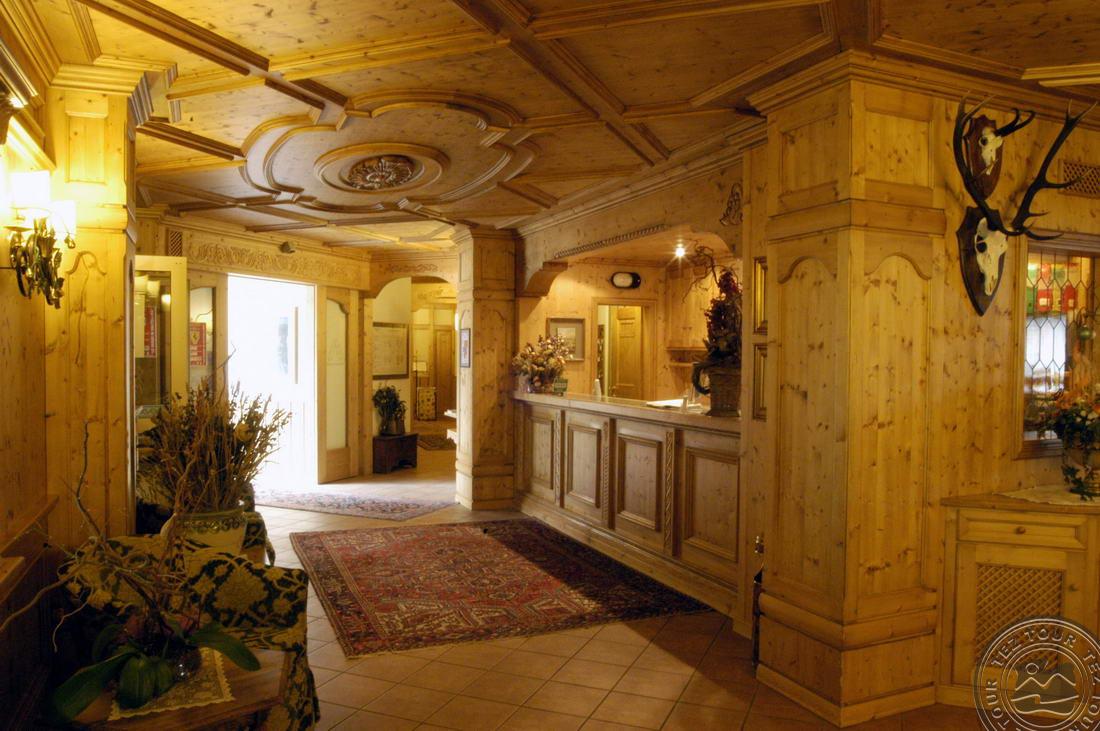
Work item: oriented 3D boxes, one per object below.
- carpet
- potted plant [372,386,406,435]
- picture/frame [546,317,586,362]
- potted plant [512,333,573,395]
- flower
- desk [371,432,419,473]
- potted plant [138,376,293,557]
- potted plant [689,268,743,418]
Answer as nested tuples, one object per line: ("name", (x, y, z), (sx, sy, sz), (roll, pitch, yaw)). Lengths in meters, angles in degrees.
("carpet", (-0.703, 1.831, 6.633), (2.688, 0.082, 3.026), (-3, 6, -25))
("potted plant", (-2.434, 0.676, 11.233), (0.441, 0.712, 0.486), (-1, 7, -6))
("picture/frame", (0.171, -0.348, 9.152), (0.635, 0.509, 0.065), (6, -9, -38))
("potted plant", (-0.057, 0.004, 8.616), (0.652, 0.575, 0.617), (-16, 5, 20))
("flower", (-1.824, 1.270, 3.286), (0.626, 0.189, 0.583), (1, 7, 11))
("desk", (-2.330, 1.284, 10.982), (0.227, 0.343, 0.671), (2, 0, 25))
("potted plant", (-2.147, 0.720, 4.719), (0.837, 1.210, 1.572), (-4, 7, -29))
("potted plant", (1.334, -0.196, 5.975), (0.364, 1.176, 0.425), (1, 7, 9))
